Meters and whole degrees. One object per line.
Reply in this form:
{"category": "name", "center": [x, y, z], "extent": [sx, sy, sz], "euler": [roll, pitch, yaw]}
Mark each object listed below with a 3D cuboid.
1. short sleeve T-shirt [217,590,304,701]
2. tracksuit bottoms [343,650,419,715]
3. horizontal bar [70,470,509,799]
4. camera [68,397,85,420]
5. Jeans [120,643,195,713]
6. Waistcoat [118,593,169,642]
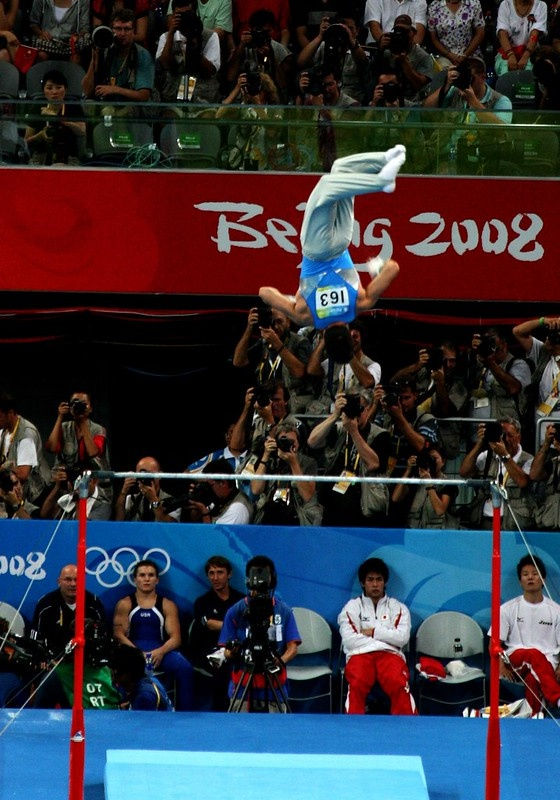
{"category": "short sleeve T-shirt", "center": [-0.135, 1.453, 6.371], "extent": [0.516, 0.595, 0.311], "euler": [-5, -23, 21]}
{"category": "tracksuit bottoms", "center": [0.570, 1.629, 6.232], "extent": [0.377, 0.344, 0.135], "euler": [-2, -17, 5]}
{"category": "horizontal bar", "center": [0.020, 1.211, 5.875], "extent": [2.319, 1.626, 2.490], "euler": [-1, -8, -11]}
{"category": "camera", "center": [-1.444, 0.063, 7.626], "extent": [0.100, 0.132, 0.096], "euler": [-2, 6, -8]}
{"category": "Jeans", "center": [-0.705, 1.573, 6.389], "extent": [0.394, 0.377, 0.334], "euler": [23, -50, -24]}
{"category": "Waistcoat", "center": [-0.777, 1.311, 6.508], "extent": [0.250, 0.327, 0.185], "euler": [-3, -2, 21]}
